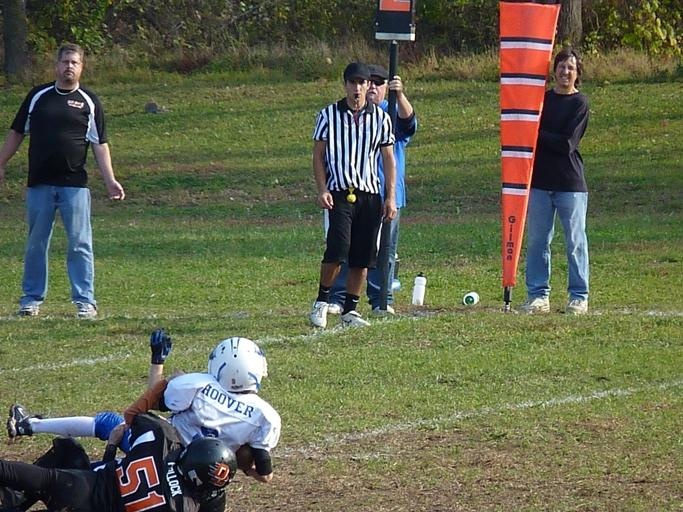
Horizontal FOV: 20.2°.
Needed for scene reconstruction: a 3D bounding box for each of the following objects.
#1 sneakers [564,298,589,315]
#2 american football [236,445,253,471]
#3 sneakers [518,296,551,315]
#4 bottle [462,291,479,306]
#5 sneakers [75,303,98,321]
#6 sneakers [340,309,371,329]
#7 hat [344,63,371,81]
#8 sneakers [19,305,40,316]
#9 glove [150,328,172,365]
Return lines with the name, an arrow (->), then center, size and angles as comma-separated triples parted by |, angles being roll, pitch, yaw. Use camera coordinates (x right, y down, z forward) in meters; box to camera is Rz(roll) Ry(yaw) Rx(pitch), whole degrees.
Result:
sneakers -> 4.249, 0.927, 34.237 | 0.401, 0.263, 0.241 | 0, 2, -6
american football -> -1.499, 3.249, 30.659 | 0.250, 0.356, 0.329 | 4, -18, 3
sneakers -> 3.527, 0.927, 34.290 | 0.434, 0.220, 0.265 | 1, 2, -5
bottle -> 2.412, 0.809, 35.116 | 0.223, 0.252, 0.242 | -4, 4, 18
sneakers -> -4.522, 1.012, 34.351 | 0.465, 0.240, 0.187 | 0, 5, 6
sneakers -> 0.258, 1.148, 33.733 | 0.591, 0.282, 0.219 | 4, 5, 7
hat -> 0.311, -3.179, 33.606 | 0.451, 0.334, 0.319 | 0, 2, -7
sneakers -> -5.556, 1.006, 34.413 | 0.431, 0.221, 0.152 | -3, 7, -6
glove -> -2.927, 1.403, 30.884 | 0.223, 0.441, 0.582 | -11, -25, 6
